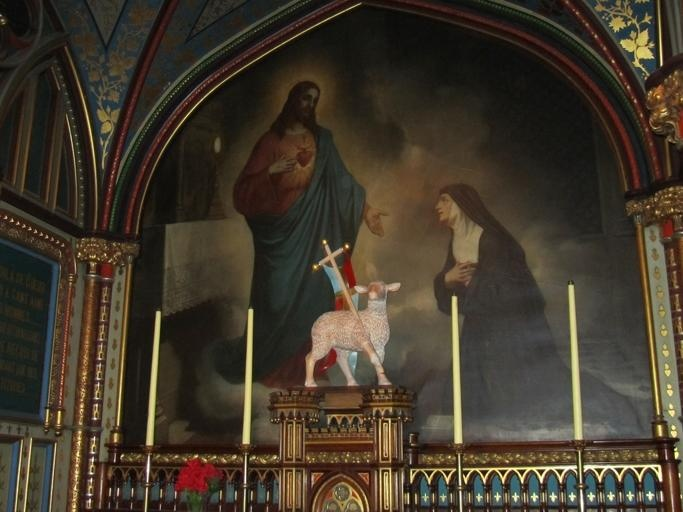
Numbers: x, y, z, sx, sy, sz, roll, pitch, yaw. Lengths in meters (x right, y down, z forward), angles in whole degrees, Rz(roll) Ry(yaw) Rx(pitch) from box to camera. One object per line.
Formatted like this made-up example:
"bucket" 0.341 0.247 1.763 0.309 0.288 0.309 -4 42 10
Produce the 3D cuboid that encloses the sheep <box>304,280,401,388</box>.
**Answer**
"sheep" 0.041 0.823 9.972 0.833 1.089 0.992 10 -22 -31
